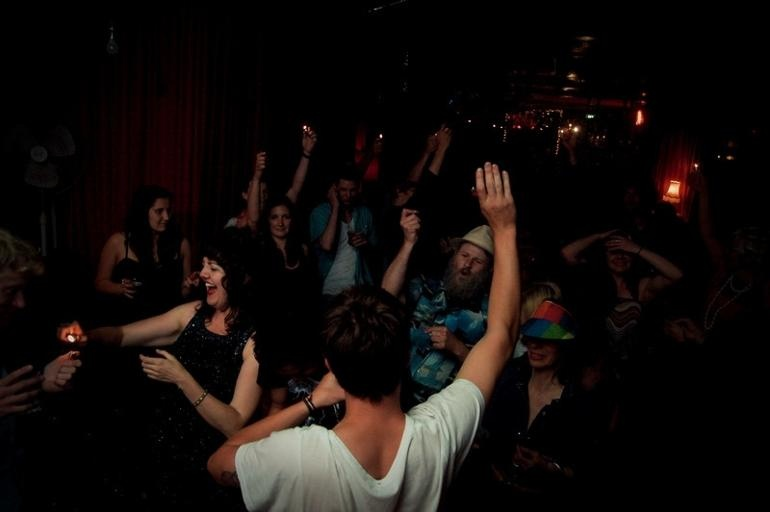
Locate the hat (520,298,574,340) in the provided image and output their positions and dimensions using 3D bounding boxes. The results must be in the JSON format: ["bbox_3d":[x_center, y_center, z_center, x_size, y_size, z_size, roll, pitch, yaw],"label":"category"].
[{"bbox_3d":[1.107,0.432,3.826,0.304,0.167,0.231,11,-4,-21],"label":"hat"}]

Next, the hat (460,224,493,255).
[{"bbox_3d":[0.668,-0.123,3.938,0.196,0.098,0.193,32,3,26],"label":"hat"}]
